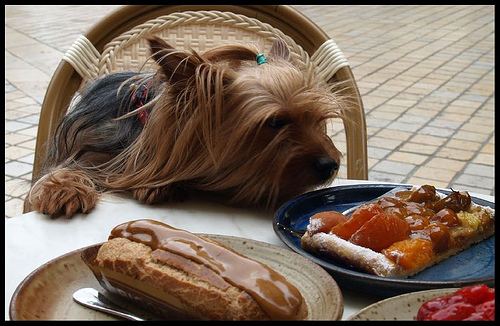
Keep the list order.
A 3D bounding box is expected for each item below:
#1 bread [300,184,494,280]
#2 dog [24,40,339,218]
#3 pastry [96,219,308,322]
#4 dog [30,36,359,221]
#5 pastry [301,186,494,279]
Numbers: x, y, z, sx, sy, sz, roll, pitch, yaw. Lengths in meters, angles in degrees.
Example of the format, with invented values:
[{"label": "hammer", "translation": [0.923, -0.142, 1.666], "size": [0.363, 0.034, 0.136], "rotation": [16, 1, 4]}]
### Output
[{"label": "bread", "translation": [0.429, 0.167, 1.200], "size": [0.405, 0.100, 0.248], "rotation": [-15, 16, -32]}, {"label": "dog", "translation": [-0.230, -0.135, 1.634], "size": [1.102, 0.489, 1.040], "rotation": [3, 10, 17]}, {"label": "pastry", "translation": [-0.123, 0.244, 0.942], "size": [0.457, 0.127, 0.171], "rotation": [19, 37, 21]}, {"label": "dog", "translation": [-0.235, -0.088, 1.471], "size": [0.791, 0.358, 0.741], "rotation": [6, 8, 32]}, {"label": "pastry", "translation": [0.417, 0.119, 1.179], "size": [0.410, 0.098, 0.243], "rotation": [-14, 15, -32]}]
